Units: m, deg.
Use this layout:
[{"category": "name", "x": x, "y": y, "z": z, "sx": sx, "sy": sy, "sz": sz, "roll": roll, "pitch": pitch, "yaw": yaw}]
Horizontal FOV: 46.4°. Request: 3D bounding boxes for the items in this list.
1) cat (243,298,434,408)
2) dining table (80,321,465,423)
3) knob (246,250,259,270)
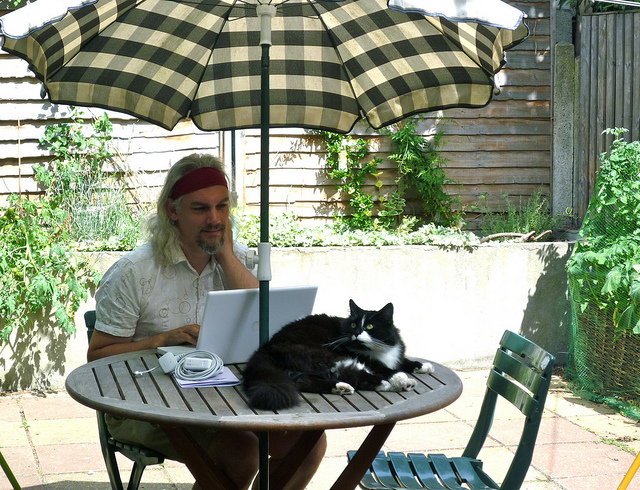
[{"category": "cat", "x": 0.062, "y": 0.565, "z": 3.667, "sx": 0.603, "sy": 0.311, "sz": 0.519, "roll": -4, "pitch": 4, "yaw": -7}, {"category": "dining table", "x": -0.253, "y": 0.579, "z": 3.675, "sx": 1.831, "sy": 0.335, "sz": 0.787, "roll": 3, "pitch": 12, "yaw": 6}, {"category": "knob", "x": -0.337, "y": 0.072, "z": 3.713, "sx": 0.063, "sy": 0.104, "sz": 0.097, "roll": 4, "pitch": 8, "yaw": 4}]
